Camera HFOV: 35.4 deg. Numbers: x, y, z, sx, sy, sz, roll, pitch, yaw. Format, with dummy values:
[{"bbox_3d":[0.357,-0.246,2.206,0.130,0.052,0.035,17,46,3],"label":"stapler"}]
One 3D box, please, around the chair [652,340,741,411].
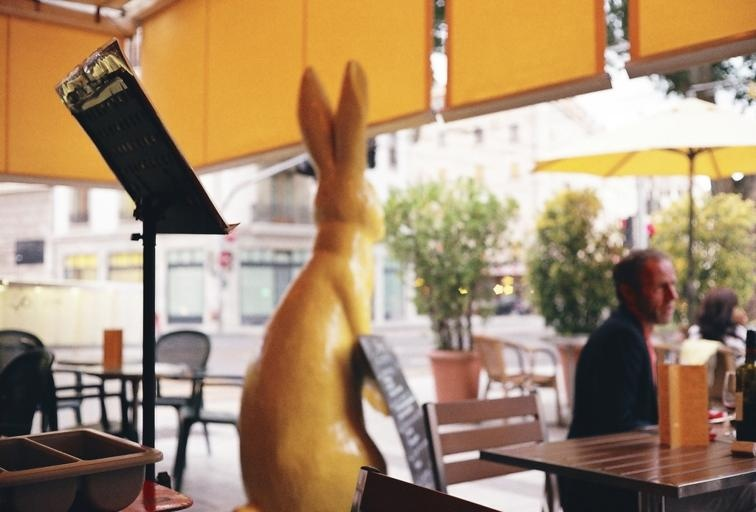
[{"bbox_3d":[1.791,0.676,6.682,0.353,0.464,0.458,-3,-6,34],"label":"chair"}]
